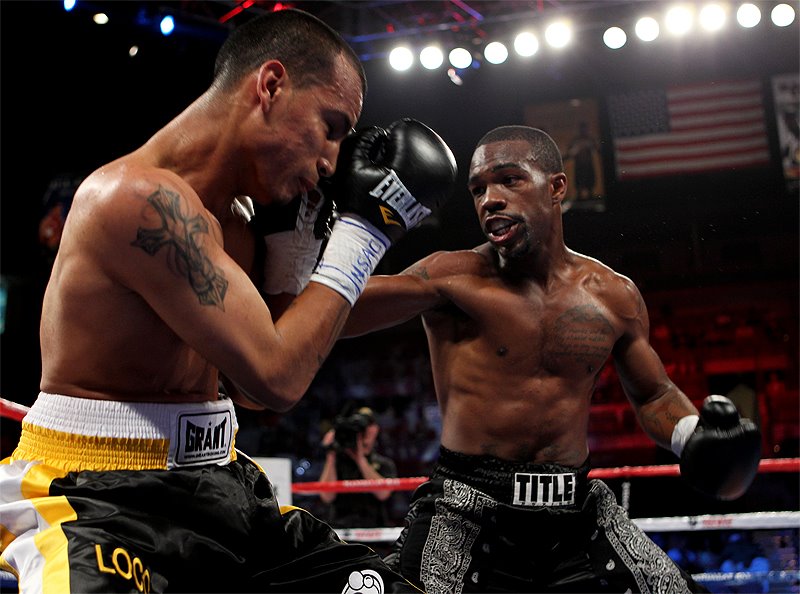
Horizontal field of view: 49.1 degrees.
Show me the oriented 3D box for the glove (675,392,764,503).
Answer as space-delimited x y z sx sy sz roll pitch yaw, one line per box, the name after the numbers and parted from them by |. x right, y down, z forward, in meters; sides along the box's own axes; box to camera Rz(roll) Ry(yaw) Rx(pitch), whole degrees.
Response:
1.407 0.674 3.951 0.320 0.452 0.204 13 -20 -8 | glove
